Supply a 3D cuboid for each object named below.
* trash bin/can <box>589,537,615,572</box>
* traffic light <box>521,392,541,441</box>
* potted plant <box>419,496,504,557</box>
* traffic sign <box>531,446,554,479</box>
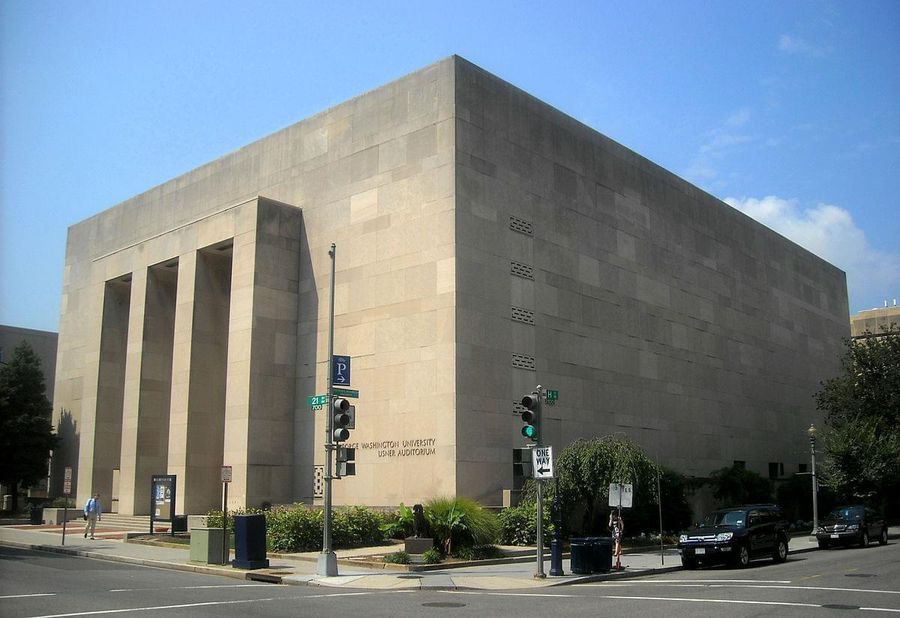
[{"bbox_3d":[6.196,9.918,32.962,1.095,1.161,1.097,7,-12,-38],"label":"trash bin/can"},{"bbox_3d":[3.116,4.124,31.214,0.698,1.928,0.911,-3,-17,5],"label":"traffic light"},{"bbox_3d":[0.383,9.602,36.409,2.386,2.231,2.625,9,-14,-18],"label":"potted plant"},{"bbox_3d":[3.517,5.811,30.980,0.999,1.182,0.397,-16,-22,39],"label":"traffic sign"}]
